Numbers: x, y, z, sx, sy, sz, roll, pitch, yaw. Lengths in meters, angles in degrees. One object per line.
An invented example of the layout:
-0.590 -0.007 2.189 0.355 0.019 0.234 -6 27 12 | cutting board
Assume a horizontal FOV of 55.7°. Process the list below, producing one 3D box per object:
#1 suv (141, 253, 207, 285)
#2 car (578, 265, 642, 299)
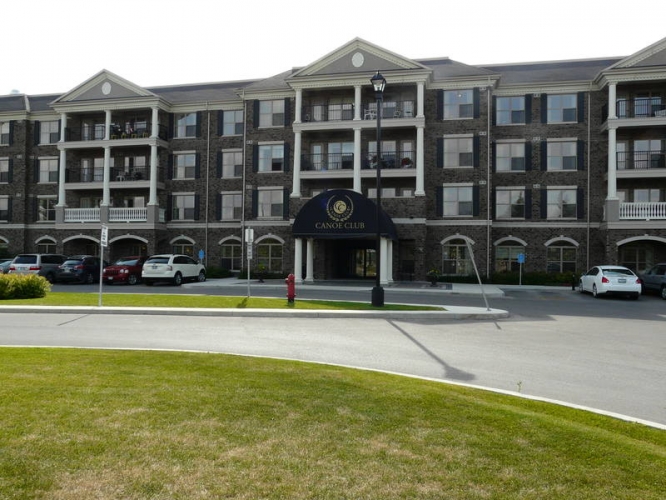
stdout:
-8.893 1.063 35.091 1.508 0.980 3.080 -3 -7 16 | suv
12.730 1.410 29.308 1.414 0.844 2.883 0 3 6 | car
